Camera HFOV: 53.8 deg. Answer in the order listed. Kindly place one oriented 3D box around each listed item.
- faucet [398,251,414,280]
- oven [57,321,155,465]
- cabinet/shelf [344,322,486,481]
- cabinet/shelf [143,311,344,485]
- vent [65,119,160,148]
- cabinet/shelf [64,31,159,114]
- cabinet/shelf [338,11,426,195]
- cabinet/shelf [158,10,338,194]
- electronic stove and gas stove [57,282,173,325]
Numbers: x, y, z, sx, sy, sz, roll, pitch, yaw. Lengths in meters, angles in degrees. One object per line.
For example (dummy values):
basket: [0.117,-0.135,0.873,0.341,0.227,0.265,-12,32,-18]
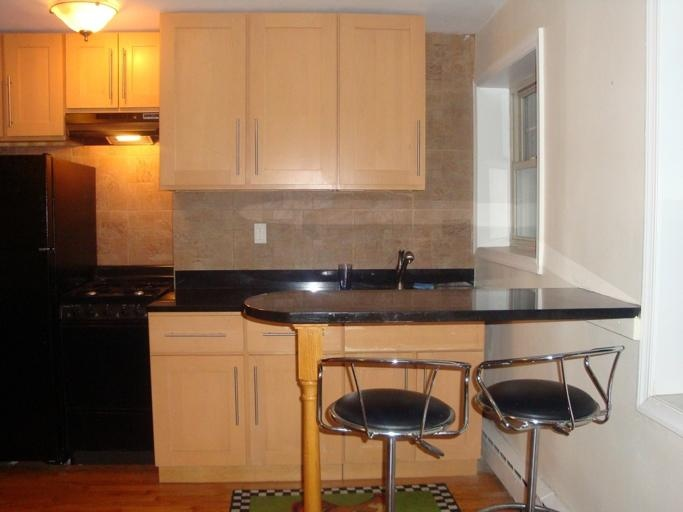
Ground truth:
faucet: [0.420,0.057,4.367,0.104,0.204,0.215,1,15,8]
oven: [-1.338,0.840,4.297,0.696,1.018,0.663,-3,0,-4]
cabinet/shelf: [0.362,0.805,4.064,0.887,0.970,0.520,2,-6,-18]
cabinet/shelf: [-0.479,0.814,4.053,1.212,1.016,0.468,-3,4,6]
vent: [-1.433,-0.786,4.361,0.642,0.180,0.414,-1,14,0]
cabinet/shelf: [-1.386,-1.146,4.303,0.629,0.445,0.231,1,4,3]
cabinet/shelf: [0.361,-1.001,4.332,0.789,1.035,0.781,-9,23,-15]
cabinet/shelf: [-0.638,-0.957,4.227,1.166,1.029,0.435,-7,19,-29]
electronic stove and gas stove: [-1.364,0.283,4.141,0.590,0.158,0.597,0,14,2]
